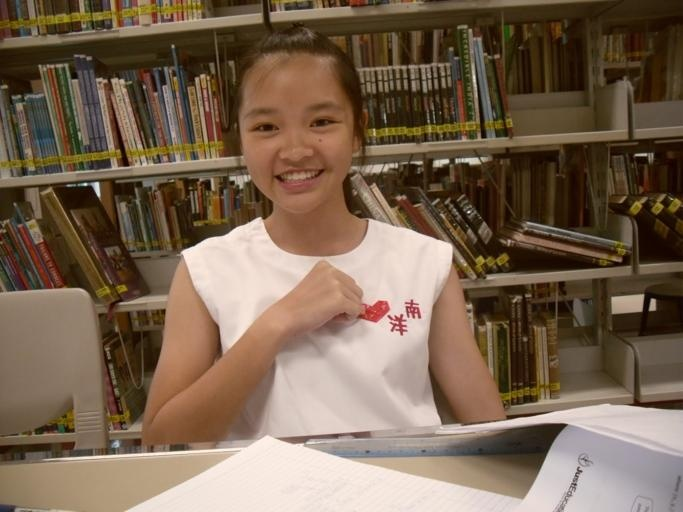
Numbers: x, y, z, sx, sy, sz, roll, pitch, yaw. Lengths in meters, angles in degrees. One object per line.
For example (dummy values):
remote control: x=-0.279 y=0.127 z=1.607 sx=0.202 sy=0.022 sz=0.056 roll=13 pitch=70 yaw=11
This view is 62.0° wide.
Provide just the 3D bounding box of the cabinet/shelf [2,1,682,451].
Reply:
cabinet/shelf: x=0.092 y=-0.416 z=2.337 sx=1.806 sy=1.043 sz=2.256 roll=5 pitch=18 yaw=43
